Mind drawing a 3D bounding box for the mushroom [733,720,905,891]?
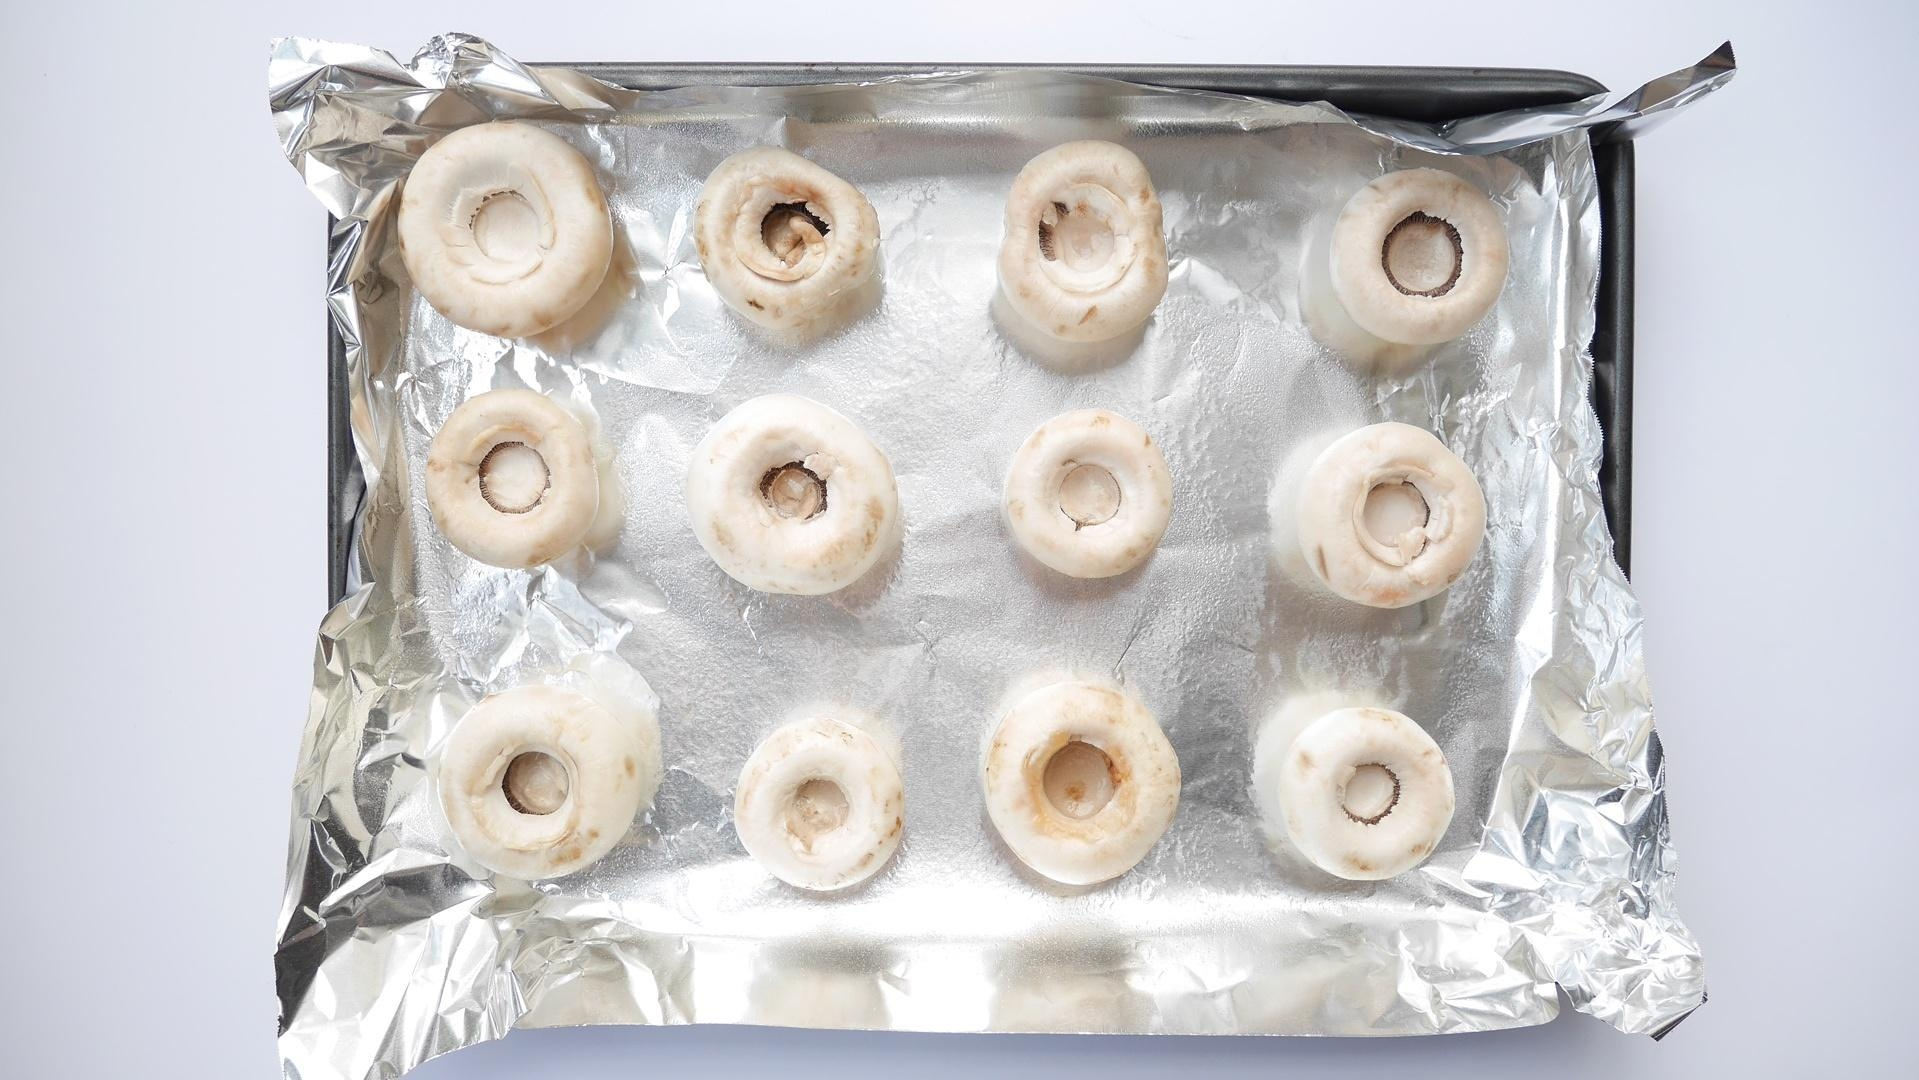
[{"bbox_3d":[-0.426,0.801,9.734,0.505,0.184,0.506,4,-86,-1],"label":"mushroom"}]
